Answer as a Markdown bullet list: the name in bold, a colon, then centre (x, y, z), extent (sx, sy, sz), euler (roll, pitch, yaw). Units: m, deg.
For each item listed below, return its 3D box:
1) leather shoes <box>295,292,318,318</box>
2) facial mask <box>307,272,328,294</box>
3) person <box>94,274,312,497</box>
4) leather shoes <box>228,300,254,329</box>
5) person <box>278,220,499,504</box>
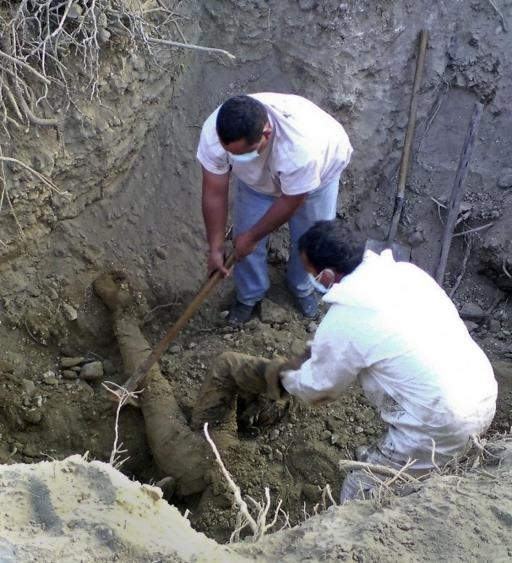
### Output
- **leather shoes**: centre (0.344, 0.157, 4.941), extent (0.110, 0.186, 0.066), euler (-28, -1, -16)
- **facial mask**: centre (0.340, 0.015, 4.103), extent (0.069, 0.083, 0.093), euler (28, 28, -43)
- **person**: centre (-0.481, 0.530, 4.277), extent (0.519, 0.472, 1.783), euler (-12, 60, -37)
- **leather shoes**: centre (-0.101, 0.240, 4.878), extent (0.107, 0.230, 0.091), euler (32, 0, 5)
- **person**: centre (0.660, 0.582, 3.783), extent (1.117, 1.718, 0.806), euler (19, 42, 26)
